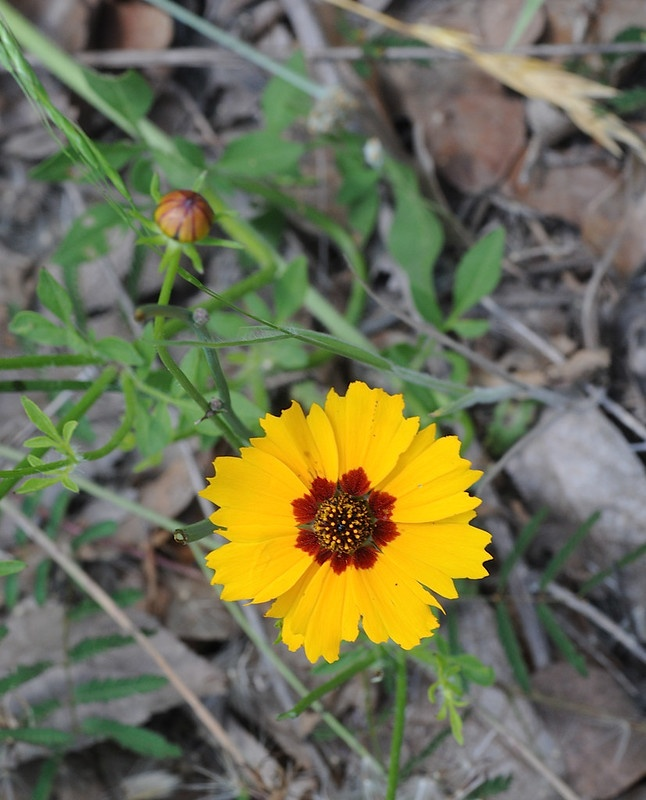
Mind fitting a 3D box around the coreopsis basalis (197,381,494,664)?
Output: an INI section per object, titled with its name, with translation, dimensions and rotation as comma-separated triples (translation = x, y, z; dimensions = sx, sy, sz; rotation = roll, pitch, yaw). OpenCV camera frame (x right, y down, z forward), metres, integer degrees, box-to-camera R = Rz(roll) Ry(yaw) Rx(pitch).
[coreopsis basalis]
translation = 0.021, 0.143, 0.877
dimensions = 0.341, 0.099, 0.307
rotation = 34, 98, 38
